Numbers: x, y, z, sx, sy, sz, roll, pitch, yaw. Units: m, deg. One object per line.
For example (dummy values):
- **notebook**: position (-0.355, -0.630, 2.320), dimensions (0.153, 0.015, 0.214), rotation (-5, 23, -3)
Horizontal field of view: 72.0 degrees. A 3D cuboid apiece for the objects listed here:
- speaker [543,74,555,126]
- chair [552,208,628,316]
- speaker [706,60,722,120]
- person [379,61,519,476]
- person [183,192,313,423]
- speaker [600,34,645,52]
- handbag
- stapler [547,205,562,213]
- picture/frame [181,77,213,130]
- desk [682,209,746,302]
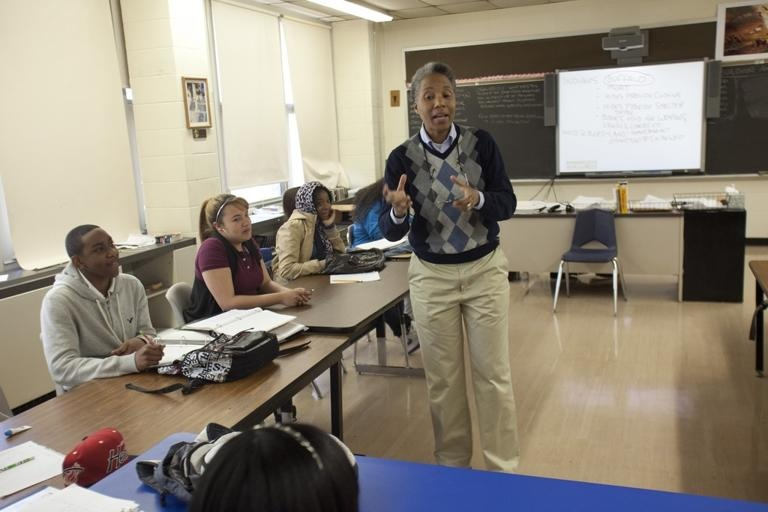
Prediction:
- **speaker**: position (2.215, -2.072, 7.035), dimensions (0.170, 0.690, 0.125), rotation (-1, 14, 9)
- **chair**: position (2.061, 0.001, 5.231), dimensions (0.731, 0.947, 0.747), rotation (-1, 5, 14)
- **speaker**: position (4.056, -2.047, 6.505), dimensions (0.166, 0.689, 0.166), rotation (2, 15, 22)
- **person**: position (0.333, 0.091, 2.634), dimensions (0.655, 2.029, 0.397), rotation (0, 14, 14)
- **person**: position (-0.844, 0.052, 3.272), dimensions (0.778, 0.853, 0.536), rotation (1, 6, 18)
- **speaker**: position (3.032, -2.699, 6.674), dimensions (0.515, 0.196, 0.174), rotation (0, 14, 13)
- **handbag**: position (-0.690, 0.433, 2.294), dimensions (0.283, 0.111, 0.220), rotation (3, 11, 14)
- **stapler**: position (1.849, -0.511, 5.705), dimensions (0.119, 0.043, 0.087), rotation (-10, 14, -24)
- **picture/frame**: position (-1.797, -1.469, 5.073), dimensions (0.462, 0.476, 0.035), rotation (19, 26, 40)
- **desk**: position (3.216, -0.027, 5.437), dimensions (0.687, 0.997, 0.669), rotation (2, -2, 7)
